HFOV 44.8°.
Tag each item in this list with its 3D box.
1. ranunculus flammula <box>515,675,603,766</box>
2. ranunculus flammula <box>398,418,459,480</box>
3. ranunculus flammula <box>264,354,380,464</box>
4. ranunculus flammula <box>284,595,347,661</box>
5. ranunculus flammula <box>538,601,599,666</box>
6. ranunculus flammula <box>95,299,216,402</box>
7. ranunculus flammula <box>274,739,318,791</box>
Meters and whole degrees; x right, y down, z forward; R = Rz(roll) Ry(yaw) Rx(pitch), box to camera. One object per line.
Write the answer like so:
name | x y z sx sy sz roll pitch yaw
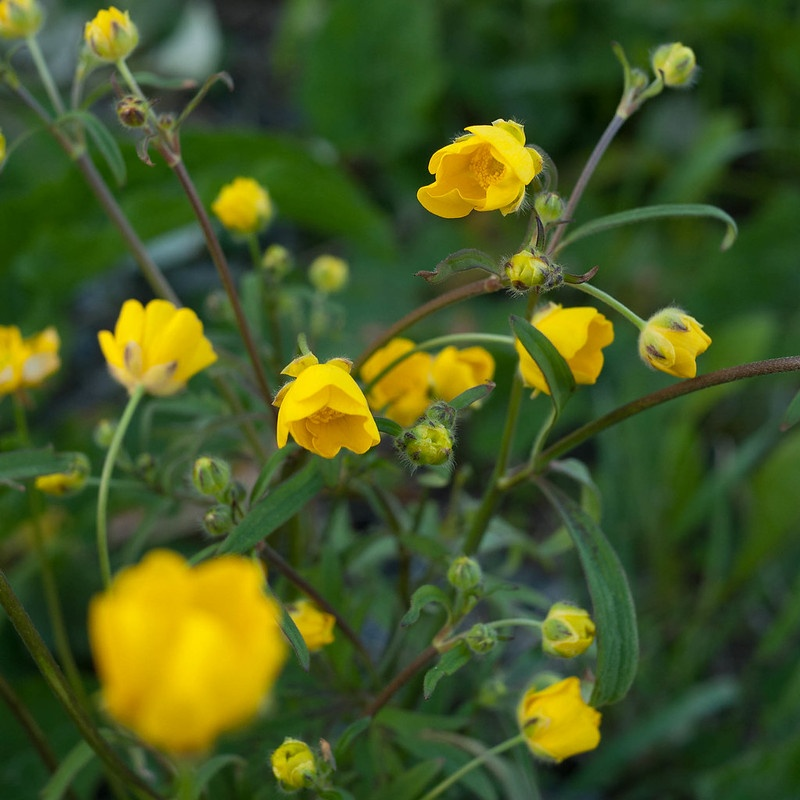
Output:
ranunculus flammula | 0.087 0.182 0.558 0.048 0.025 0.048 24 77 5
ranunculus flammula | 0.011 0.026 0.524 0.027 0.026 0.016 5 101 -11
ranunculus flammula | -0.042 0.009 0.534 0.052 0.077 0.060 -9 69 -6
ranunculus flammula | -0.051 0.133 0.579 0.032 0.014 0.030 51 18 -12
ranunculus flammula | 0.093 0.130 0.549 0.040 0.024 0.033 -3 40 13
ranunculus flammula | -0.148 -0.026 0.577 0.065 0.070 0.033 17 49 -24
ranunculus flammula | -0.056 0.196 0.521 0.021 0.012 0.026 -40 76 -16
